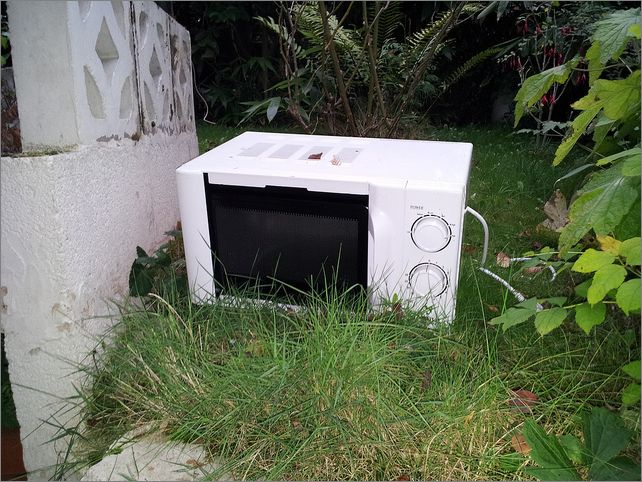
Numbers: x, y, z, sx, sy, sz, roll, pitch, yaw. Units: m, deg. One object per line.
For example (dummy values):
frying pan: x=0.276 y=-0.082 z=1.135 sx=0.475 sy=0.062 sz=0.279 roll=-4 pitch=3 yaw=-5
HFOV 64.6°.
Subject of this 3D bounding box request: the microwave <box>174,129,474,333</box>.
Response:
microwave: x=0.017 y=-0.101 z=1.975 sx=1.001 sy=0.582 sz=0.739 roll=7 pitch=31 yaw=12
